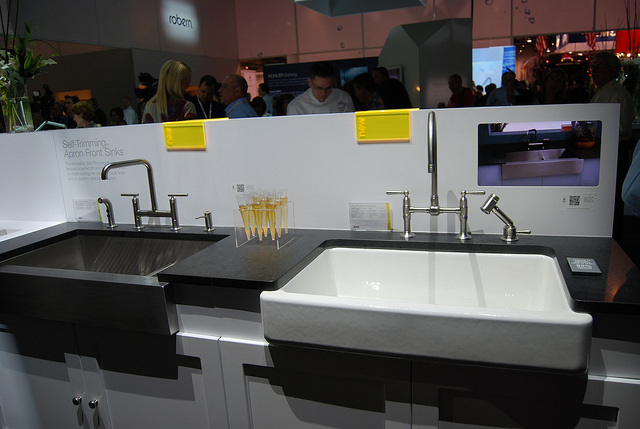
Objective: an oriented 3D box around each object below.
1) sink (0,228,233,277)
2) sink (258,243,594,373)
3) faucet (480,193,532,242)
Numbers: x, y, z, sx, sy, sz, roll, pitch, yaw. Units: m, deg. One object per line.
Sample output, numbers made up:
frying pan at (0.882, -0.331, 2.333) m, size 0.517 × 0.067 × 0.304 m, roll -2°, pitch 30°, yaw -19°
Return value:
sink at (-1.162, 0.215, 2.572) m, size 1.071 × 0.245 × 0.325 m, roll -3°, pitch 10°, yaw -7°
sink at (0.424, 0.363, 2.003) m, size 1.252 × 0.362 × 0.517 m, roll 0°, pitch 10°, yaw 12°
faucet at (0.844, 0.016, 2.152) m, size 0.159 × 0.225 × 0.183 m, roll 3°, pitch 11°, yaw 24°
